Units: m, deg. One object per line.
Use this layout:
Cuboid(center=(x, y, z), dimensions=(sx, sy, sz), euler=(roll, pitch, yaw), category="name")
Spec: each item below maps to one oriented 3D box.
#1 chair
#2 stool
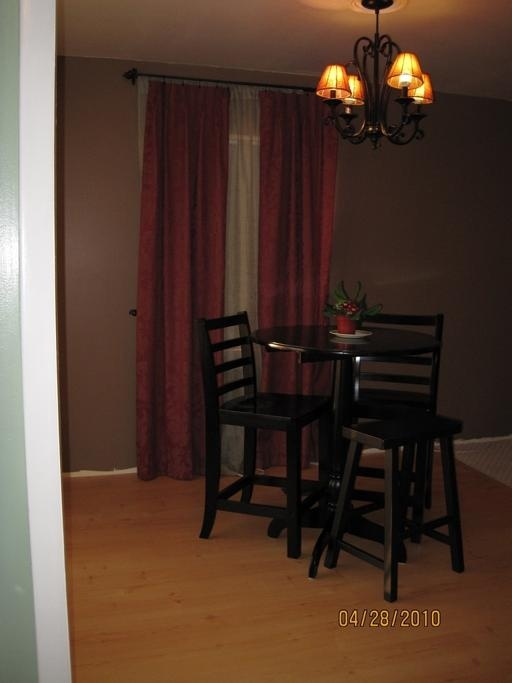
Cuboid(center=(0.314, 0.339, 3.246), dimensions=(0.924, 2.016, 0.967), euler=(2, 6, 27), category="chair")
Cuboid(center=(0.533, 0.566, 2.249), dimensions=(0.602, 0.593, 0.416), euler=(-4, 7, -40), category="stool")
